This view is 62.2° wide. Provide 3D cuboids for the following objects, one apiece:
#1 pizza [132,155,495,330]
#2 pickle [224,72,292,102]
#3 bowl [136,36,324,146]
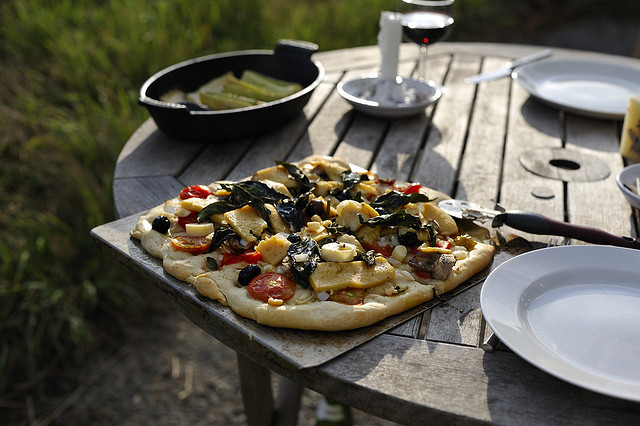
[{"bbox_3d":[-0.027,0.022,2.095,1.260,0.178,1.320,8,26,15],"label":"pizza"},{"bbox_3d":[-0.342,-0.606,2.680,0.404,0.126,0.107,17,20,3],"label":"pickle"},{"bbox_3d":[-0.425,-0.580,2.662,0.632,0.242,0.790,24,44,37],"label":"bowl"}]
